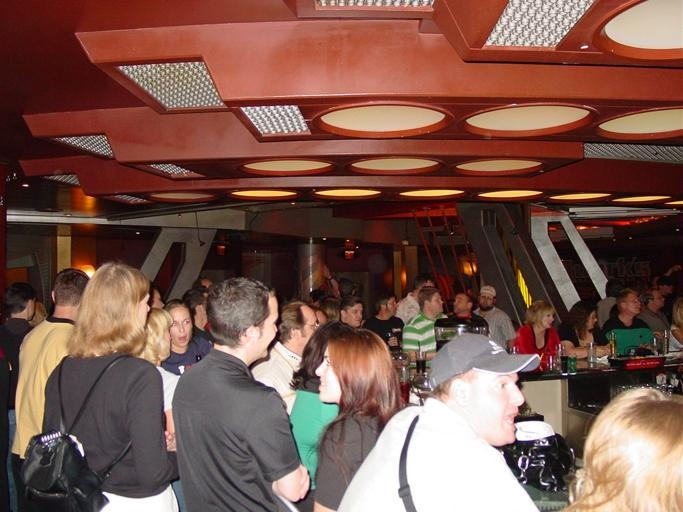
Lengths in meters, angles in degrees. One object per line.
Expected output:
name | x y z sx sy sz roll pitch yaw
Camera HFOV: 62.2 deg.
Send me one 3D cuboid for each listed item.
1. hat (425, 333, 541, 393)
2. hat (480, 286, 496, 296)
hat | 0.618 0.429 2.482 0.387 0.145 0.249 -14 -2 12
hat | 1.965 0.475 7.531 0.174 0.079 0.246 7 0 16
